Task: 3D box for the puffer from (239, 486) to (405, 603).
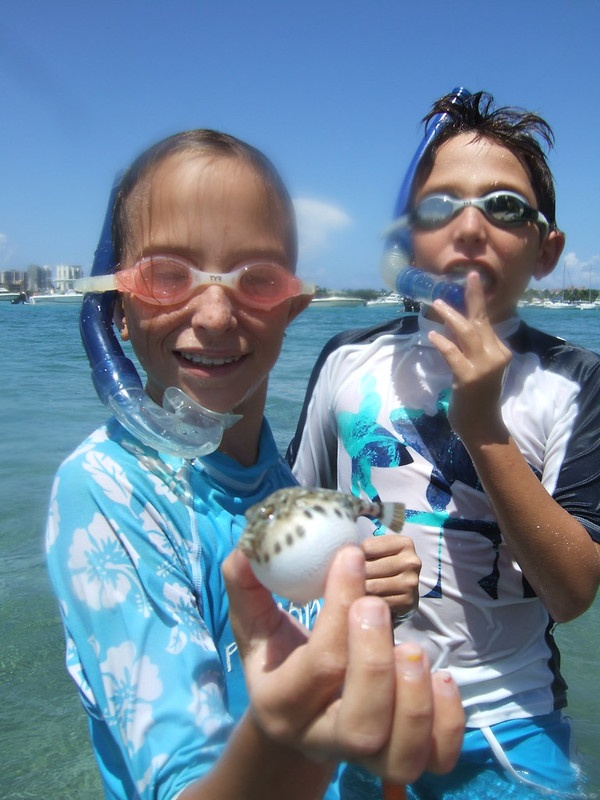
[{"bbox_3d":[0.064,0.243,1.216,0.311,0.153,0.157,-3,15,-18],"label":"puffer"}]
